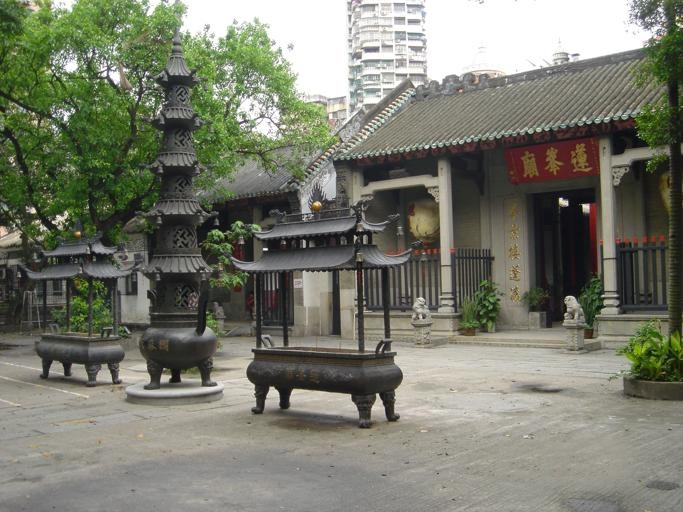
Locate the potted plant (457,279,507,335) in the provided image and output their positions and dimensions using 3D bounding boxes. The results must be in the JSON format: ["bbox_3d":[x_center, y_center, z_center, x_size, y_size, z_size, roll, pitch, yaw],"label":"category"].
[{"bbox_3d":[4.085,1.456,21.713,1.351,1.589,0.664,2,-4,-41],"label":"potted plant"}]
